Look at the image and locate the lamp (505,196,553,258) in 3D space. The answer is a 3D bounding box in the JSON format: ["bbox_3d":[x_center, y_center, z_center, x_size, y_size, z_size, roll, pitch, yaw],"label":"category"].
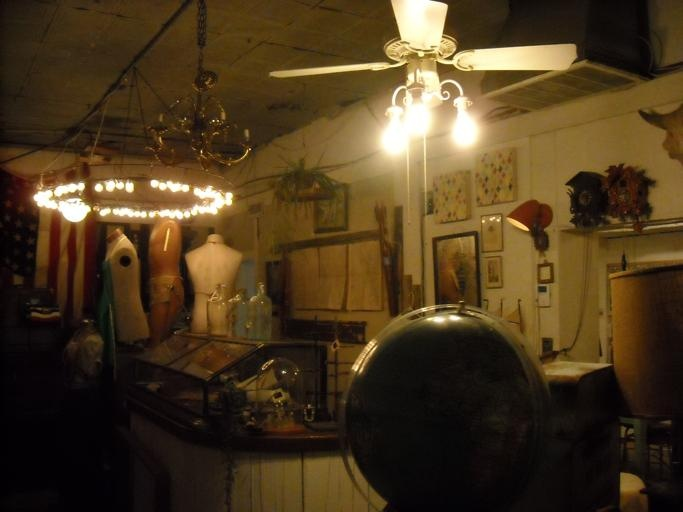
[{"bbox_3d":[1.540,-0.240,5.055,0.391,0.613,0.347,-5,1,-15],"label":"lamp"}]

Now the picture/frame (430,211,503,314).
[{"bbox_3d":[1.030,0.127,5.730,0.125,0.666,0.587,4,-8,-32],"label":"picture/frame"}]

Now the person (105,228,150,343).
[{"bbox_3d":[-1.972,0.292,5.898,0.399,1.034,0.415,3,-7,-24],"label":"person"}]

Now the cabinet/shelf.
[{"bbox_3d":[-0.806,0.873,4.598,0.894,0.624,1.909,5,-9,-37],"label":"cabinet/shelf"}]

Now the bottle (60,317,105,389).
[{"bbox_3d":[-2.405,0.891,6.019,0.440,0.620,0.290,13,8,34],"label":"bottle"}]
